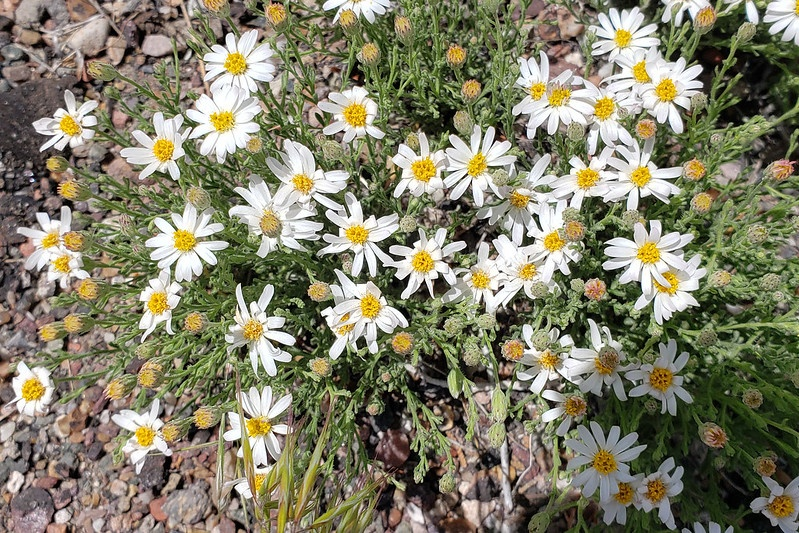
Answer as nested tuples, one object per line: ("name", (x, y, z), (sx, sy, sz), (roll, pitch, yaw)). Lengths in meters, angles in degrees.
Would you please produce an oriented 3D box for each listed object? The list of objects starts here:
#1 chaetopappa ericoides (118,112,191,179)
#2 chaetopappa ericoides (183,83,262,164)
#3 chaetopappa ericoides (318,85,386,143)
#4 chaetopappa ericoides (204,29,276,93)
("chaetopappa ericoides", (-1.516, -0.742, 3.577), (0.382, 0.219, 0.398), (1, 83, 2))
("chaetopappa ericoides", (-1.074, -0.889, 3.525), (0.480, 0.166, 0.404), (-44, 84, -3))
("chaetopappa ericoides", (-0.312, -0.962, 3.722), (0.368, 0.306, 0.363), (-12, 83, 1))
("chaetopappa ericoides", (-1.049, -1.371, 3.723), (0.480, 0.544, 0.112), (6, 98, 37))
